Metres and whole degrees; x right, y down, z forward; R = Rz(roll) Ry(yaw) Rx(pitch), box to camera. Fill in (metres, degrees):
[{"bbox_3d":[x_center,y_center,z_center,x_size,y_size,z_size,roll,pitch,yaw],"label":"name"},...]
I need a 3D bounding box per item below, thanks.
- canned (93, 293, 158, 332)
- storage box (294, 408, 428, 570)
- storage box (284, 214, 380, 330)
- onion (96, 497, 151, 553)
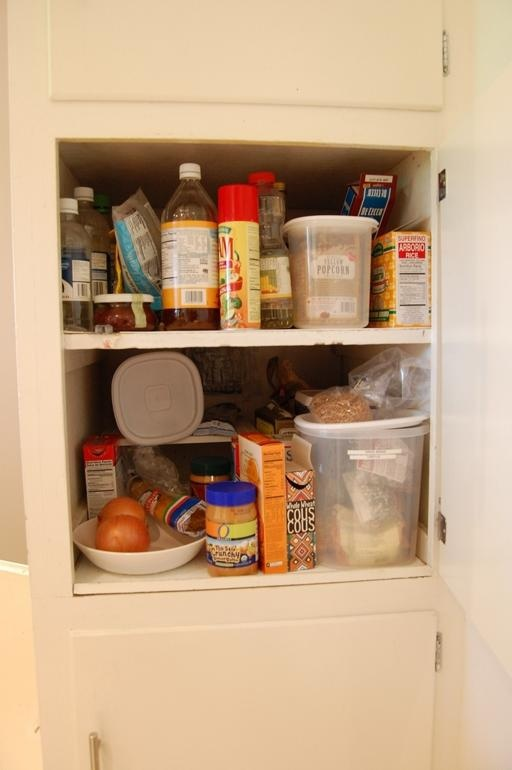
[{"bbox_3d":[-0.211,-0.116,1.041,0.074,0.055,0.074,-1,8,-9],"label":"canned"},{"bbox_3d":[0.133,0.165,1.122,0.234,0.257,0.229,-1,-3,-7],"label":"storage box"},{"bbox_3d":[0.095,-0.188,1.102,0.189,0.183,0.192,-1,8,3],"label":"storage box"},{"bbox_3d":[-0.209,0.220,1.092,0.077,0.092,0.077,-4,13,-39],"label":"onion"}]
